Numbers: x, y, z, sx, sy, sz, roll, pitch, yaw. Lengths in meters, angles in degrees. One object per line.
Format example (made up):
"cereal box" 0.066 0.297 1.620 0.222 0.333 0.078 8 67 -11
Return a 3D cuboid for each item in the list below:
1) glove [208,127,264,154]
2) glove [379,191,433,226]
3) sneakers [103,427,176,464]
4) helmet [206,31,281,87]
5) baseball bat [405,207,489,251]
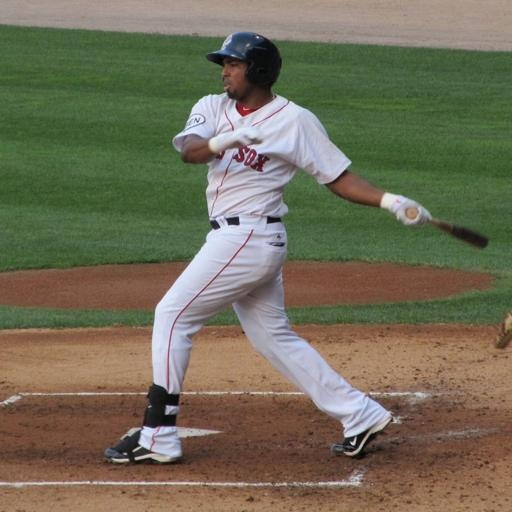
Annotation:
"glove" -0.156 -0.859 8.665 0.353 0.119 0.171 -8 52 17
"glove" 1.164 -0.368 8.867 0.408 0.193 0.166 23 26 9
"sneakers" -0.928 1.497 9.109 0.655 0.224 0.241 -5 1 25
"helmet" -0.061 -1.530 9.024 0.615 0.383 0.417 3 0 -24
"baseball bat" 1.547 -0.219 9.082 0.863 0.158 0.099 27 -13 50
